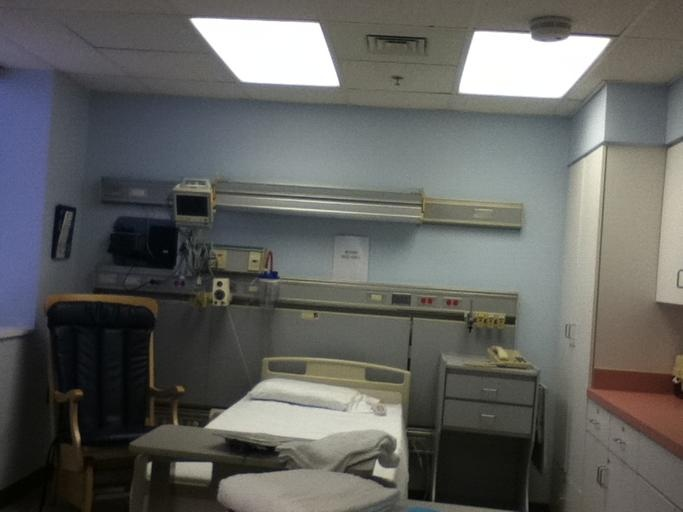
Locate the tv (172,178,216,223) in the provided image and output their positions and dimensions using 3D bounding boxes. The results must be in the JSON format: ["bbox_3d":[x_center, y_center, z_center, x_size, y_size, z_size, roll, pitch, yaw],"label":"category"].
[{"bbox_3d":[-1.164,-0.429,4.700,0.306,0.327,0.335,0,-1,-3],"label":"tv"}]

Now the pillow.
[{"bbox_3d":[-0.257,1.011,4.382,0.530,0.079,0.315,3,2,11],"label":"pillow"}]

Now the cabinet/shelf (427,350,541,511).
[{"bbox_3d":[1.105,1.373,4.617,0.772,0.998,0.669,4,-1,14],"label":"cabinet/shelf"}]

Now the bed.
[{"bbox_3d":[-0.430,1.113,3.968,0.912,0.698,1.626,3,7,10],"label":"bed"}]
